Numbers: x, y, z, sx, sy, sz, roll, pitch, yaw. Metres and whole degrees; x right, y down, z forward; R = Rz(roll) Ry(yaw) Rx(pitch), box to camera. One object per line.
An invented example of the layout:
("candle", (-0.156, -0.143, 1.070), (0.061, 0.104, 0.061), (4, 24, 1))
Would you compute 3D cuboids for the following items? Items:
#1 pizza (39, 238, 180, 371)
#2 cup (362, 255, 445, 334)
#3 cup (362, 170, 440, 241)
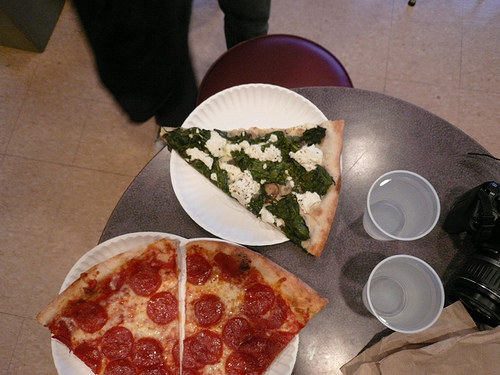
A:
("pizza", (-0.516, 0.516, 1.652), (0.531, 0.161, 0.507), (-12, 82, -2))
("cup", (0.594, 0.373, 1.656), (0.272, 0.215, 0.314), (2, 87, -1))
("cup", (0.607, 0.080, 1.715), (0.267, 0.222, 0.309), (-1, 91, 10))
